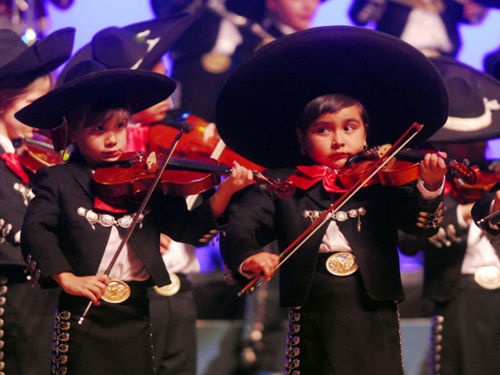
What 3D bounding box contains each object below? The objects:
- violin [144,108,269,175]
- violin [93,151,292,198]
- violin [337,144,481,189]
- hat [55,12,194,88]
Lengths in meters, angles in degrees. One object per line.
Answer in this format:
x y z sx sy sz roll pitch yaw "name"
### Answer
-0.407 -0.380 5.080 1.203 0.161 0.484 30 40 25 "violin"
-0.346 -0.068 3.143 1.056 0.200 0.403 6 17 3 "violin"
0.873 -0.115 3.068 0.332 0.121 0.638 -34 25 -33 "violin"
-0.990 -1.329 4.976 0.632 0.242 1.172 36 40 30 "hat"
